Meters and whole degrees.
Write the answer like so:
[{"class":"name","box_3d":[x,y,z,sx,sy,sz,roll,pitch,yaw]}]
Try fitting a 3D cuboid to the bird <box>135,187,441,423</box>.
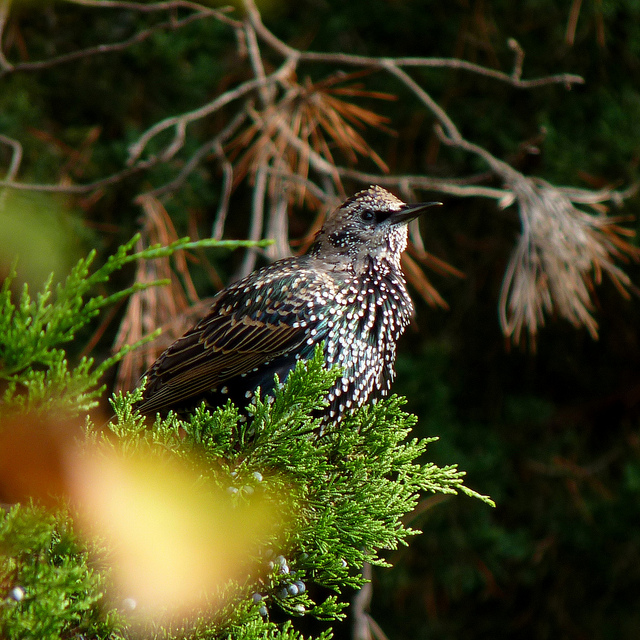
[{"class":"bird","box_3d":[-0.204,0.112,4.611,1.322,1.144,0.707,-8,-14,21]}]
